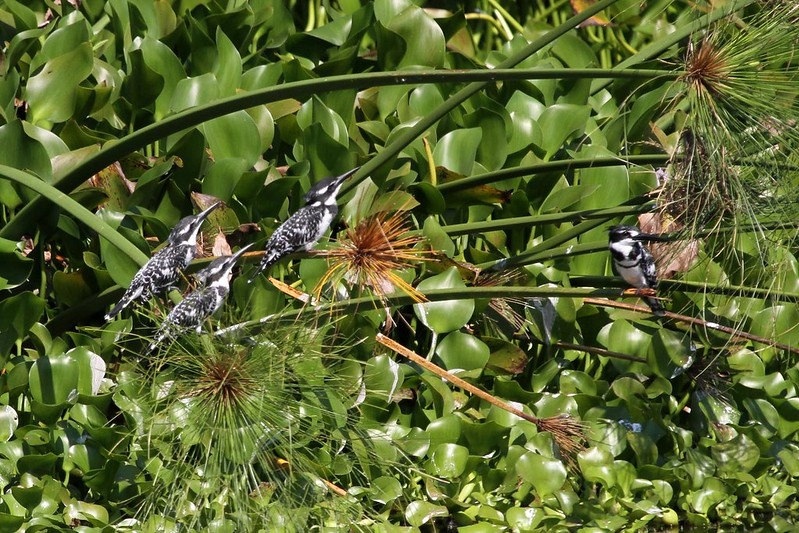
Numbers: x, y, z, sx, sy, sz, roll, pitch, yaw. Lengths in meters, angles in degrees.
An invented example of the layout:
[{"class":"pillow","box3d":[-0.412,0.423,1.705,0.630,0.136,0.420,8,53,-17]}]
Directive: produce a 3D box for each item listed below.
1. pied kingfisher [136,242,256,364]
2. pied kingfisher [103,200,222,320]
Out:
[{"class":"pied kingfisher","box3d":[-0.669,0.108,3.578,0.337,0.372,0.116,-3,18,5]},{"class":"pied kingfisher","box3d":[-0.860,-0.011,3.758,0.467,0.238,0.125,-38,49,-25]}]
